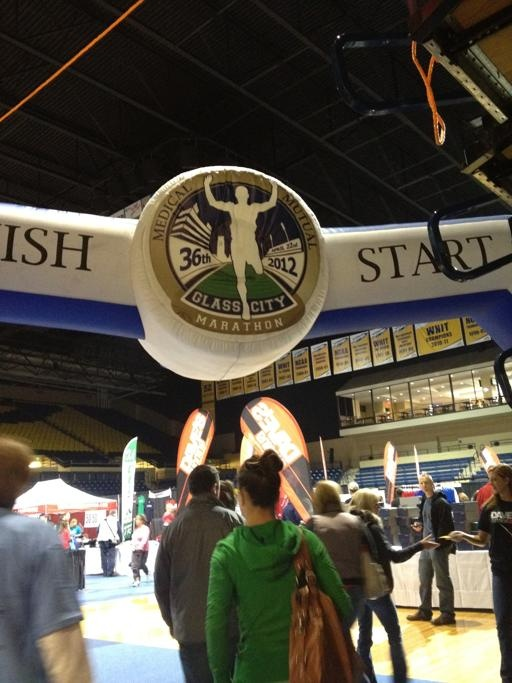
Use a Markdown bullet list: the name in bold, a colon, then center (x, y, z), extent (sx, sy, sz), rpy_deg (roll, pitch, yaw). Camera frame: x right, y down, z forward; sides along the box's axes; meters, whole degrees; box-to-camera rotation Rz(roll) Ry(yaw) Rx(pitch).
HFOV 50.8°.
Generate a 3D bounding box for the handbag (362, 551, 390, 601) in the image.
- **handbag**: center (0.635, 1.214, 2.825), extent (0.083, 0.220, 0.213), rpy_deg (-14, -17, 30)
